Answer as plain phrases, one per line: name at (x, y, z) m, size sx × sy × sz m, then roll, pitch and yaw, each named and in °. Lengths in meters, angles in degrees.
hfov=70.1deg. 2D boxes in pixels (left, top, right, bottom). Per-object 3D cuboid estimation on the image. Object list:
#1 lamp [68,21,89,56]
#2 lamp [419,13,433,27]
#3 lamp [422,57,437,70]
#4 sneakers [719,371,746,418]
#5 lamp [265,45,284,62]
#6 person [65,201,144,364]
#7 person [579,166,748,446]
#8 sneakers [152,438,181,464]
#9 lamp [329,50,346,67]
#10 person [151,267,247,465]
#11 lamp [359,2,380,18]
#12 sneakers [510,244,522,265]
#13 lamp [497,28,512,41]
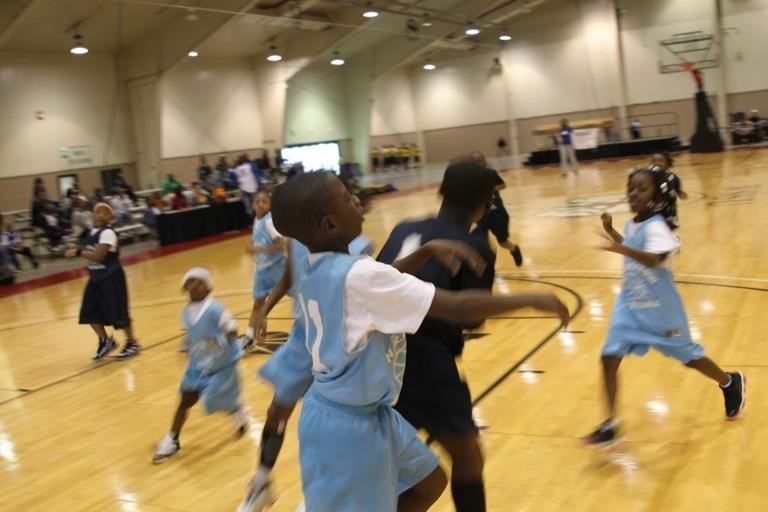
lamp at (-8.747, -6.180, 15.608) m, size 0.393 × 0.746 × 0.807 m, roll -11°, pitch 9°, yaw -26°
lamp at (1.855, -10.459, 24.287) m, size 0.380 × 0.448 × 0.476 m, roll -2°, pitch -1°, yaw 1°
lamp at (2.440, -10.347, 29.679) m, size 0.780 × 0.589 × 0.427 m, roll -4°, pitch 9°, yaw 15°
sneakers at (2.255, 0.884, 3.510) m, size 0.161 × 0.336 × 0.122 m, roll -4°, pitch 9°, yaw 2°
lamp at (-3.933, -7.243, 19.742) m, size 0.530 × 0.525 × 0.515 m, roll 0°, pitch 3°, yaw 3°
person at (-3.010, 0.297, 5.789) m, size 0.523 × 1.656 × 0.783 m, roll -11°, pitch 10°, yaw -25°
person at (1.672, 0.277, 3.524) m, size 1.090 × 1.654 × 0.498 m, roll -9°, pitch 9°, yaw -12°
sneakers at (-1.540, 1.369, 3.925) m, size 0.120 × 0.091 × 0.207 m, roll 25°, pitch 41°, yaw 19°
lamp at (-1.936, -7.949, 22.068) m, size 0.466 × 0.275 × 0.475 m, roll -10°, pitch -8°, yaw 43°
person at (-1.382, 0.747, 4.015) m, size 0.661 × 1.280 × 0.414 m, roll -10°, pitch 9°, yaw -17°
lamp at (-0.528, -9.395, 20.879) m, size 0.516 × 0.520 × 0.542 m, roll -3°, pitch -14°, yaw 2°
sneakers at (1.774, -0.001, 7.262) m, size 0.115 × 0.326 × 0.137 m, roll -12°, pitch -2°, yaw 3°
lamp at (6.172, -11.281, 28.062) m, size 0.677 × 0.531 × 0.371 m, roll -4°, pitch 9°, yaw 16°
